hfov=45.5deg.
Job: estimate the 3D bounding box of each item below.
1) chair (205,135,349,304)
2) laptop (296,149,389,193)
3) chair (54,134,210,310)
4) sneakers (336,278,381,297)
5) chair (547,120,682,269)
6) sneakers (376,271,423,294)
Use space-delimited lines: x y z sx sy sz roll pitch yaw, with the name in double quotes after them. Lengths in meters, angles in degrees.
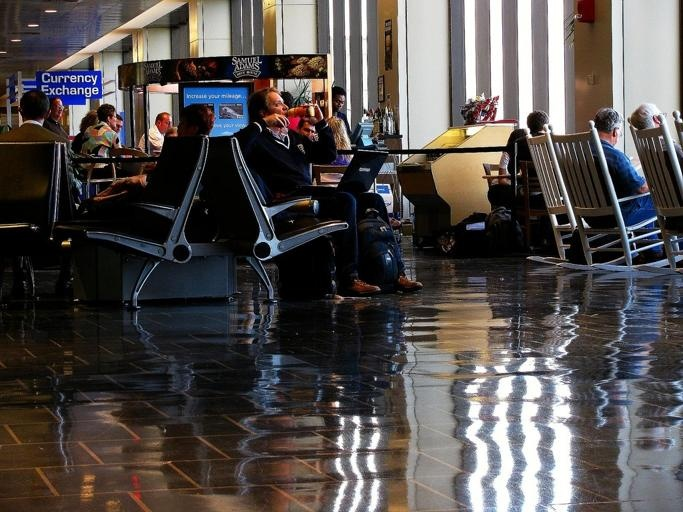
-0.529 -0.286 5.450 1.197 1.063 0.969 -1 3 -24 "chair"
0.016 -0.533 5.381 0.430 0.213 0.405 10 3 40 "laptop"
-1.275 -0.196 4.907 0.835 0.726 0.752 -7 -1 -20 "chair"
0.116 0.205 5.129 0.320 0.091 0.094 -1 3 9 "sneakers"
2.312 -0.457 6.653 1.178 1.075 0.760 -2 5 -22 "chair"
0.374 0.180 5.339 0.373 0.114 0.106 -1 6 -2 "sneakers"
